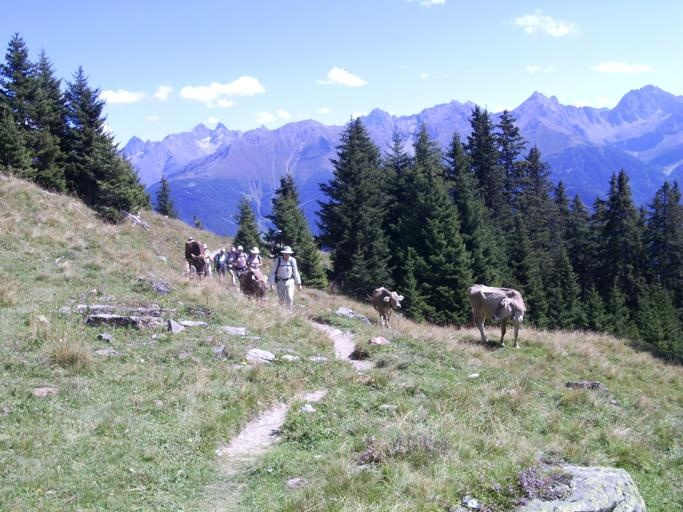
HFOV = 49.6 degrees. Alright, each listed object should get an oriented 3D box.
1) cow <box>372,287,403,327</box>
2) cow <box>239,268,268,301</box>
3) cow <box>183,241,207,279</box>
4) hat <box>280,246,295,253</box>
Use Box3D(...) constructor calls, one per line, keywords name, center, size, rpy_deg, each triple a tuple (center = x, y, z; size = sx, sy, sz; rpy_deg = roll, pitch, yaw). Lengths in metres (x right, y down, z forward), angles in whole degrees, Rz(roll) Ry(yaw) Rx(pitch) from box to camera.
Box3D(name="cow", center=(2.426, 2.502, 36.068), size=(1.157, 1.807, 1.964), rpy_deg=(5, 8, -9))
Box3D(name="cow", center=(-4.184, 1.329, 36.440), size=(1.285, 1.322, 1.229), rpy_deg=(7, 8, -1))
Box3D(name="cow", center=(-8.372, -0.068, 43.465), size=(0.900, 1.630, 2.835), rpy_deg=(-2, 8, -19))
Box3D(name="hat", center=(-2.262, -0.270, 32.990), size=(0.503, 0.241, 0.535), rpy_deg=(0, -6, 26))
